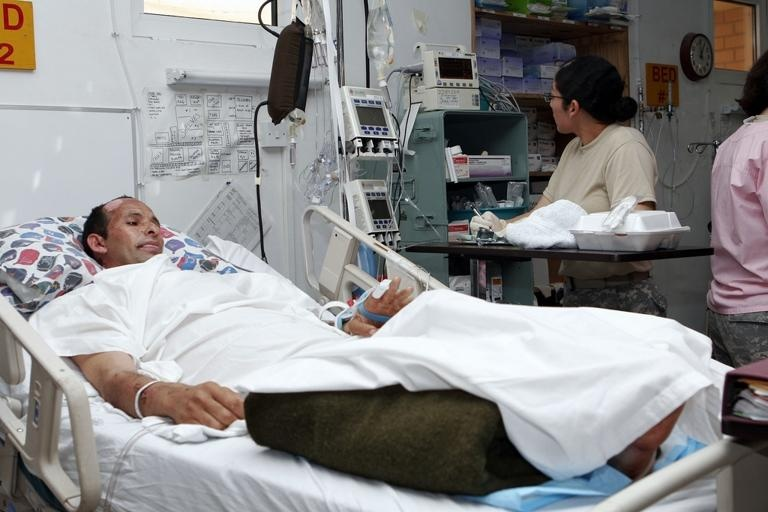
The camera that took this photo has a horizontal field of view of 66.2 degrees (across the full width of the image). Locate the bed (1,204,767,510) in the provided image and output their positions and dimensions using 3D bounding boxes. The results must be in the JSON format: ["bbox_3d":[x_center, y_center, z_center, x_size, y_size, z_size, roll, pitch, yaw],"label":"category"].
[{"bbox_3d":[-0.136,0.262,1.617,1.556,0.596,0.870,1,-1,33],"label":"bed"}]

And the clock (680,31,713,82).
[{"bbox_3d":[2.616,-1.681,4.944,0.406,0.439,0.120,7,-6,-43],"label":"clock"}]
